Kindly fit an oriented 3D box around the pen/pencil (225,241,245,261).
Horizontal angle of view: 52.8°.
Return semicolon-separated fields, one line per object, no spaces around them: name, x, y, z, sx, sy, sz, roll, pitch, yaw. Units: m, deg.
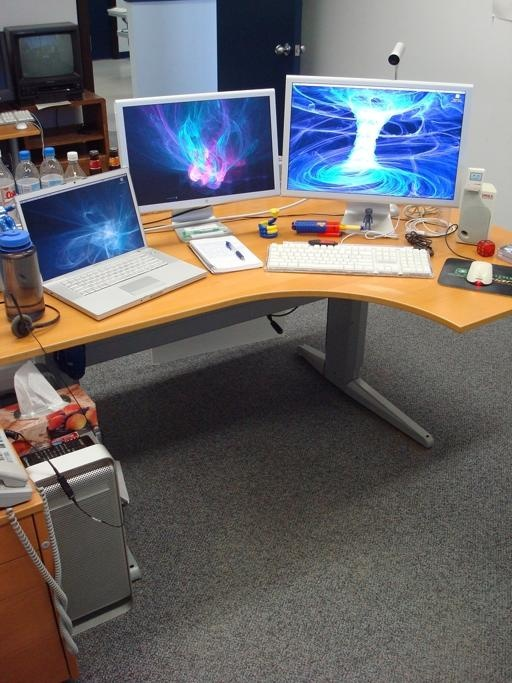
pen/pencil;-0.068;-0.290;1.657;0.023;0.015;0.100;-24;58;-36

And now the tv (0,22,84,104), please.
tv;-1.463;-1.891;3.477;0.460;0.439;0.280;-16;40;-24

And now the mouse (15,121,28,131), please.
mouse;-1.525;-1.408;3.339;0.069;0.044;0.069;-14;33;-24

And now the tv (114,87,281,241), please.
tv;-0.195;-0.586;1.725;0.586;0.400;0.150;-14;36;-20

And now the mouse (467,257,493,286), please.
mouse;0.665;-0.216;1.502;0.061;0.034;0.099;8;44;15

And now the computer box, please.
computer box;-0.462;0.487;1.252;0.235;0.398;0.252;-1;7;32
